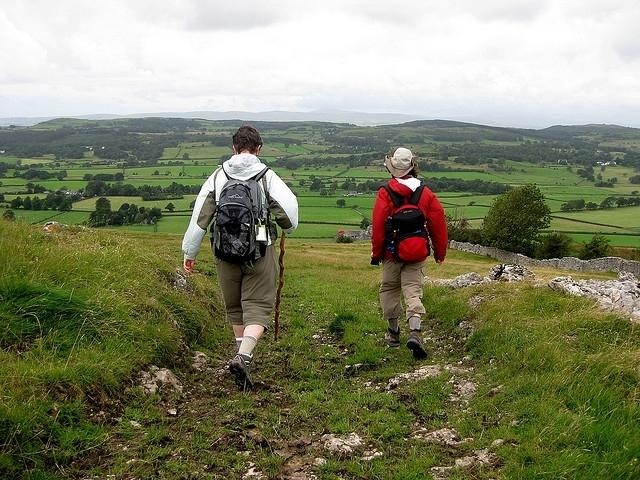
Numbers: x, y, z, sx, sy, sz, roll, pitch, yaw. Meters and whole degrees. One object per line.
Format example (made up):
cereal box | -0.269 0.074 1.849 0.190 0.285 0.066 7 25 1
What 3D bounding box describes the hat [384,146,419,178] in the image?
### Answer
hat | 1.644 -1.584 9.202 0.699 0.313 0.715 -13 32 0
